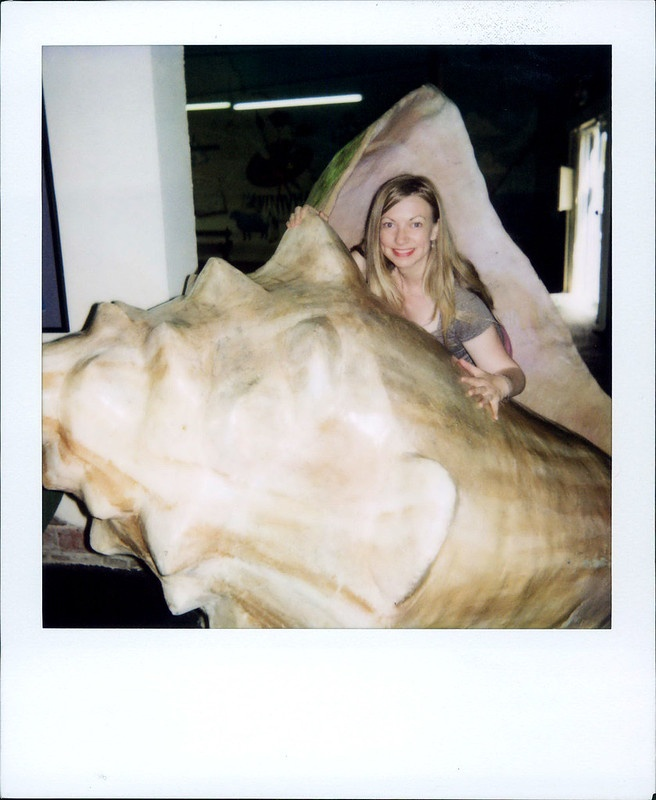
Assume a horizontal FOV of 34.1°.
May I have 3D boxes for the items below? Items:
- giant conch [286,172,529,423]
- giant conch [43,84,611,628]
[{"bbox_3d":[0.176,-0.175,1.868,0.363,0.420,0.165,-16,3,9],"label":"giant conch"},{"bbox_3d":[0.011,0.035,1.687,0.899,0.687,0.227,-1,4,-14],"label":"giant conch"}]
